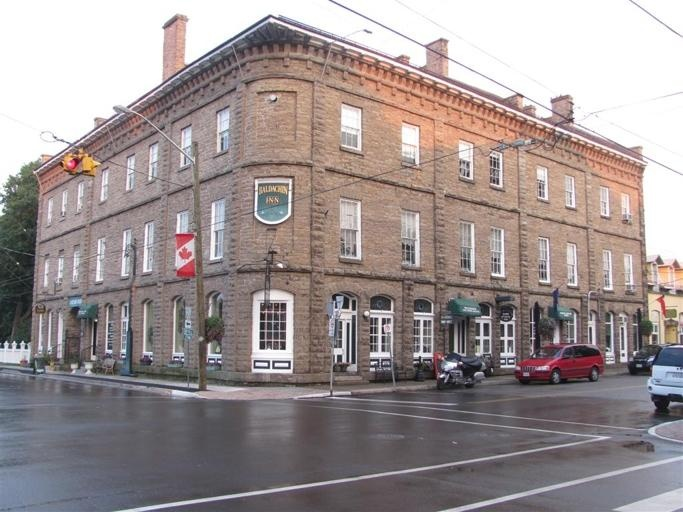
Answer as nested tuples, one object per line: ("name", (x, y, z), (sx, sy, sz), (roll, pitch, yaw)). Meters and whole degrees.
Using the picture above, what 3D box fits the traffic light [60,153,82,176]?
("traffic light", (-8.036, -2.821, 20.407), (0.512, 0.723, 0.837), (3, -13, -21))

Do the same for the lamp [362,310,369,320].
("lamp", (1.162, 2.733, 31.340), (0.348, 0.405, 0.335), (2, 3, 10))

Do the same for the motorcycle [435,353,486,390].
("motorcycle", (5.358, 5.032, 30.228), (3.151, 1.621, 1.043), (4, 3, -41))

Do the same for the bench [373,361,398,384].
("bench", (1.932, 5.270, 31.588), (1.044, 1.059, 0.531), (4, -13, -22))

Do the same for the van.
("van", (10.707, 5.236, 33.355), (4.426, 1.961, 1.290), (5, -14, -29))

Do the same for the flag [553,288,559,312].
("flag", (12.794, 2.635, 40.731), (0.432, 1.473, 0.837), (-5, -13, 16))
